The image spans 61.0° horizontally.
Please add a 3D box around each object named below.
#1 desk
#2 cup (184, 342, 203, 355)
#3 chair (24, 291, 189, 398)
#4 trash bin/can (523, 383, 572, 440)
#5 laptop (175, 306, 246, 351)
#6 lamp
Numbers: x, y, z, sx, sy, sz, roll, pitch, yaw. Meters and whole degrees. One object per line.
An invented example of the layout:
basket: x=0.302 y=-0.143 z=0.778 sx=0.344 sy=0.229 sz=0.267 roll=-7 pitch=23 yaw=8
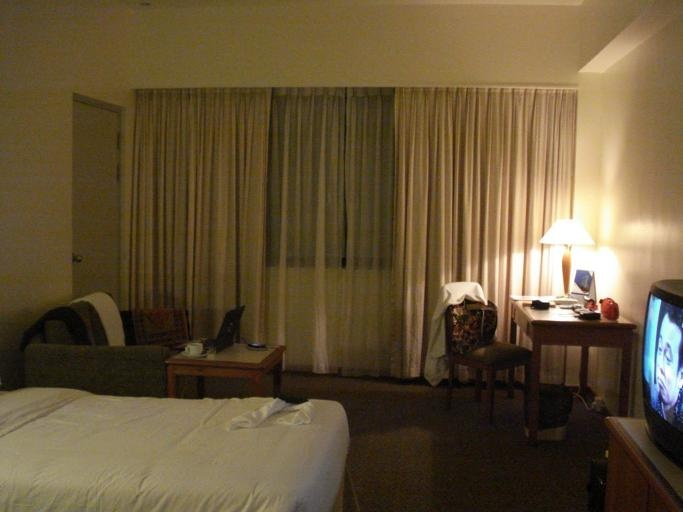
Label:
desk: x=1.890 y=0.651 z=4.818 sx=0.834 sy=1.006 sz=1.571 roll=1 pitch=2 yaw=3
cup: x=-1.093 y=0.689 z=4.294 sx=0.106 sy=0.073 sz=0.086 roll=-2 pitch=-2 yaw=11
chair: x=-1.866 y=0.684 z=4.359 sx=0.932 sy=0.575 sz=1.024 roll=-8 pitch=16 yaw=-30
trash bin/can: x=1.624 y=1.239 z=4.608 sx=0.427 sy=0.389 sz=0.335 roll=-1 pitch=-1 yaw=2
laptop: x=-1.020 y=0.571 z=4.562 sx=0.442 sy=0.360 sz=0.503 roll=1 pitch=-1 yaw=4
lamp: x=2.014 y=0.003 z=5.247 sx=0.429 sy=0.713 sz=0.438 roll=5 pitch=15 yaw=19
